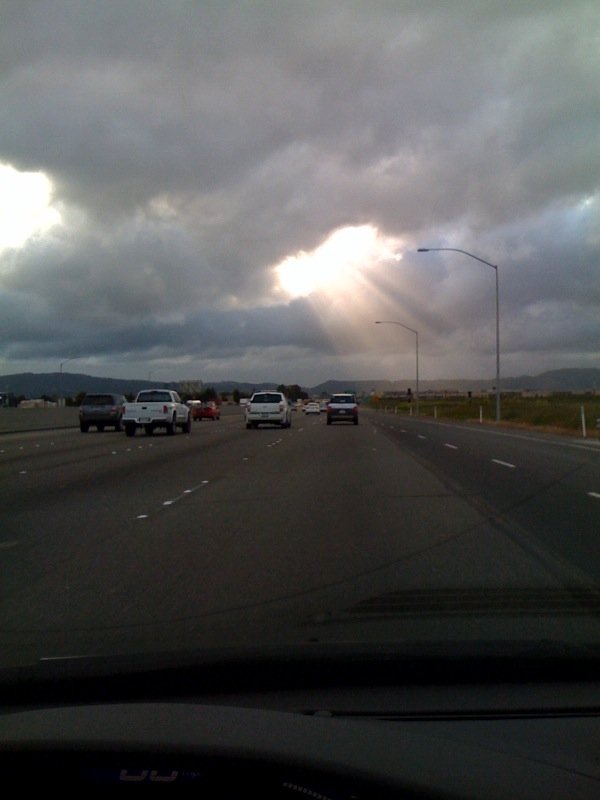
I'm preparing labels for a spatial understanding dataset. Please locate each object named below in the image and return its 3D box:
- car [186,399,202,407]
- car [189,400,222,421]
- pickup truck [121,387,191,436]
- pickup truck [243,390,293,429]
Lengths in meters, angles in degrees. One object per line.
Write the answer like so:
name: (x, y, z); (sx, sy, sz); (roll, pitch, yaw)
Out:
car: (-12.065, 0.196, 68.627); (1.192, 1.273, 1.893); (-1, 1, -12)
car: (-9.441, 1.072, 61.317); (1.591, 1.508, 2.856); (2, 4, 13)
pickup truck: (-7.348, 0.533, 33.080); (1.802, 2.213, 4.606); (0, 2, 9)
pickup truck: (-1.977, 0.569, 41.387); (1.789, 2.114, 4.333); (0, 3, 6)
